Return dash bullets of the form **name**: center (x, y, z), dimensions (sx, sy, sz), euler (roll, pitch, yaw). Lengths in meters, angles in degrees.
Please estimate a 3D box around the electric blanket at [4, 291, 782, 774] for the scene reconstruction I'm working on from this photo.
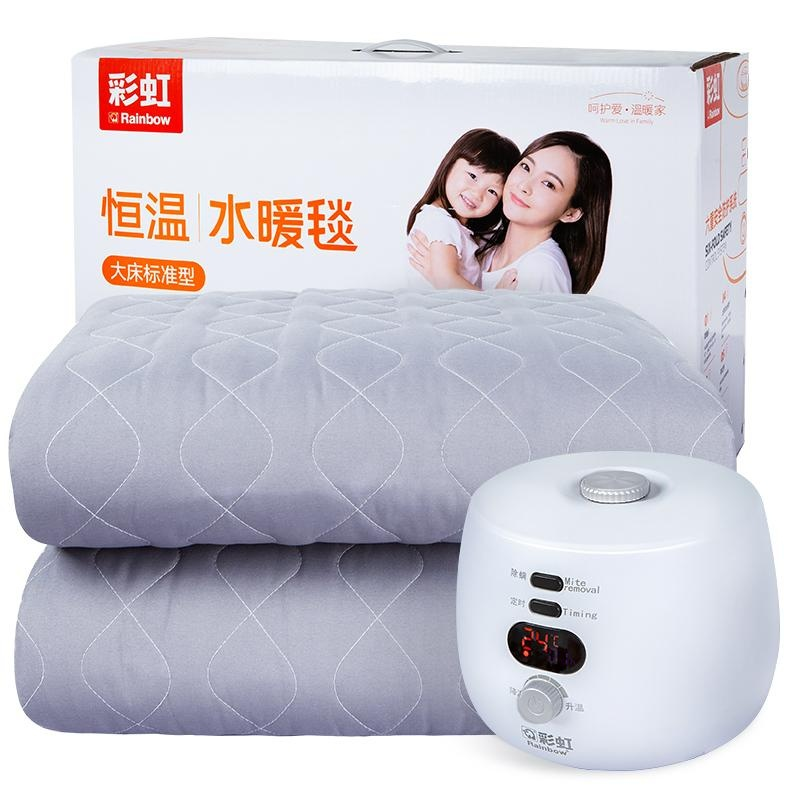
- **electric blanket**: center (-0.102, 0.066, 0.840), dimensions (0.603, 0.238, 0.419), euler (0, 13, 0)
